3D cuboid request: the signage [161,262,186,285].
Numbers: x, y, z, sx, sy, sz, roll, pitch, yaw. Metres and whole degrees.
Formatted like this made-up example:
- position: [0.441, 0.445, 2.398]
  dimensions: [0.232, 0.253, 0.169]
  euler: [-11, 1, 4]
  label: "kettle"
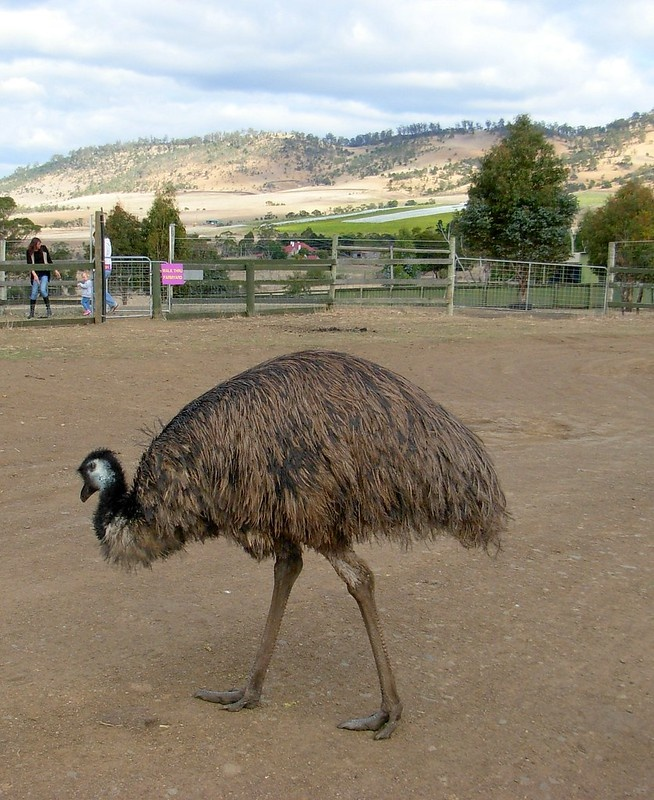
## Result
- position: [-3.466, -2.793, 18.572]
  dimensions: [0.636, 0.479, 0.081]
  euler: [-2, 3, 2]
  label: "signage"
